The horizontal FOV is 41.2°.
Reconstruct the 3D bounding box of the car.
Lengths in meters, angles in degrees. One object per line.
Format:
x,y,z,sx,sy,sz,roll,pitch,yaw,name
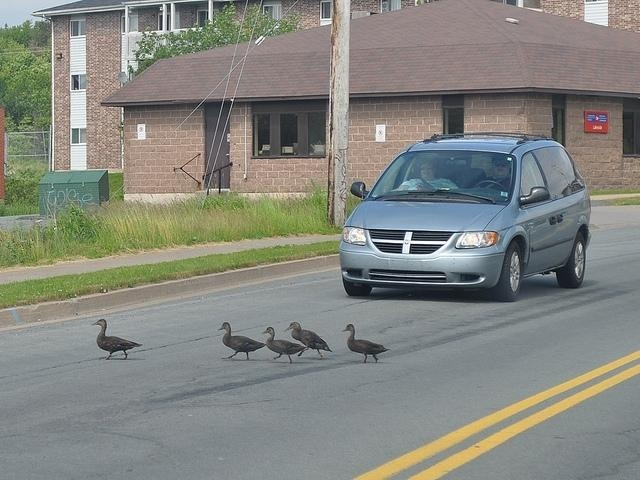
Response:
2.301,-0.330,13.013,3.904,2.421,2.063,-6,8,-41,car

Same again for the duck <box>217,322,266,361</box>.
-0.843,1.103,9.432,0.424,0.423,0.641,-2,6,-8,duck

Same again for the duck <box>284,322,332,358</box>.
-0.180,1.059,9.345,0.664,0.416,0.243,4,-2,20,duck

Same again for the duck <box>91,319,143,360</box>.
-2.248,1.097,9.482,0.546,0.396,0.292,4,9,12,duck

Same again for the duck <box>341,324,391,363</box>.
0.492,1.081,9.033,0.469,0.380,0.195,1,5,-2,duck

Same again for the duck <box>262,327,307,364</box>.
-0.362,1.109,9.057,0.526,0.340,0.188,4,3,4,duck
